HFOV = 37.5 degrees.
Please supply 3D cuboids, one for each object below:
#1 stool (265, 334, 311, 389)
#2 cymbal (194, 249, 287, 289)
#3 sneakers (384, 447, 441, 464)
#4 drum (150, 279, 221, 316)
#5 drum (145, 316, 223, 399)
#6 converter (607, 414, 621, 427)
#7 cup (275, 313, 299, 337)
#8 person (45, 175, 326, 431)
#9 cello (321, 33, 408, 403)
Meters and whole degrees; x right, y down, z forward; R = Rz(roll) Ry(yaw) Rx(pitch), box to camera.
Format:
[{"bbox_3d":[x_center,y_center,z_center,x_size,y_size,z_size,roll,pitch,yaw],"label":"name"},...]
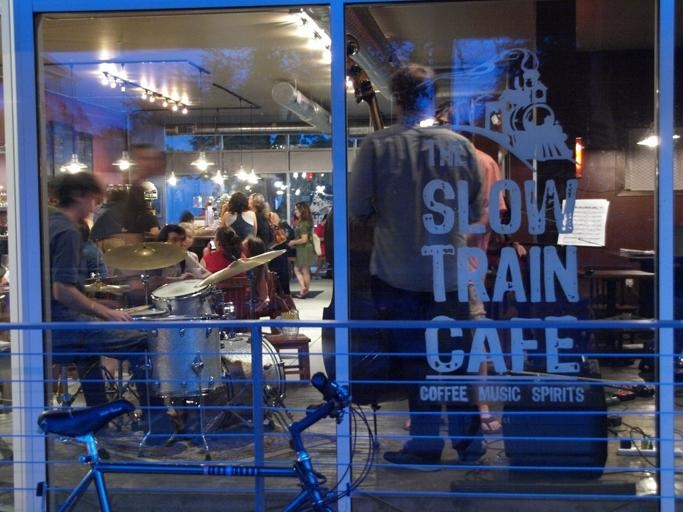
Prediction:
[{"bbox_3d":[-0.279,0.558,5.267,0.284,0.235,0.263,0,-2,-1],"label":"stool"},{"bbox_3d":[-0.527,0.057,5.302,0.286,0.061,0.276,-24,-1,8],"label":"cymbal"},{"bbox_3d":[0.370,1.060,5.238,0.336,0.092,0.131,-2,-21,9],"label":"sneakers"},{"bbox_3d":[-0.814,0.230,5.235,0.239,0.152,0.222,-2,5,0],"label":"drum"},{"bbox_3d":[-0.795,0.520,5.290,0.466,0.382,0.426,0,-4,-24],"label":"drum"},{"bbox_3d":[1.416,0.856,5.197,0.082,0.075,0.078,1,4,21],"label":"converter"},{"bbox_3d":[-0.277,0.359,5.329,0.136,0.132,0.137,1,3,0],"label":"cup"},{"bbox_3d":[-1.136,0.135,6.283,1.364,2.146,0.964,-2,-1,-19],"label":"person"},{"bbox_3d":[0.097,-0.174,5.142,0.419,1.901,0.236,-1,-3,2],"label":"cello"}]
